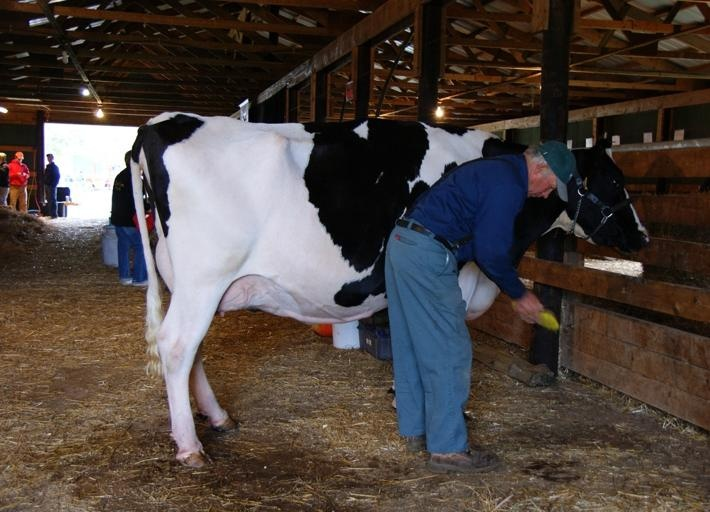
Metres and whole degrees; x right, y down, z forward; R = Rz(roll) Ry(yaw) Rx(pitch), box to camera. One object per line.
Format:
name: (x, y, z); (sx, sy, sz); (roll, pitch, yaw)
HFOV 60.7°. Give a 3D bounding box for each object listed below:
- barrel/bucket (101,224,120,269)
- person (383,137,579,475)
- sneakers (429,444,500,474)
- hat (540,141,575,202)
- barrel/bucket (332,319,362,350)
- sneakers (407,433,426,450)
barrel/bucket: (-3.791, -0.118, 9.430); (0.349, 0.639, 0.650); (0, 5, -21)
person: (0.718, 0.316, 3.905); (1.047, 2.060, 0.516); (1, 11, 2)
sneakers: (0.708, 1.322, 3.958); (0.426, 0.189, 0.173); (-4, 3, -7)
hat: (1.288, -0.539, 3.898); (0.268, 0.382, 0.225); (0, 11, -1)
barrel/bucket: (-0.094, 0.726, 5.755); (0.272, 0.322, 0.293); (-1, -1, 0)
sneakers: (0.420, 1.271, 4.145); (0.132, 0.094, 0.075); (-4, 7, -32)
